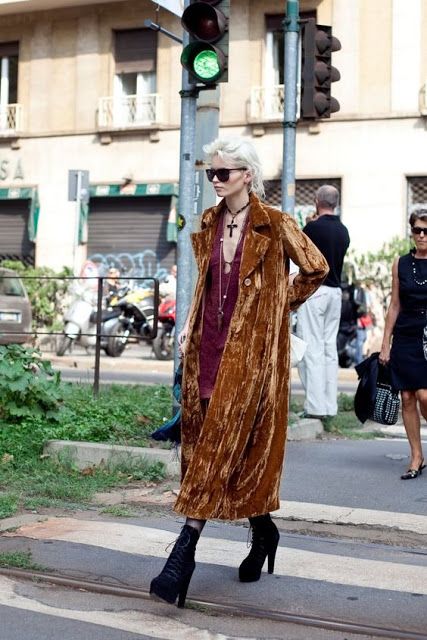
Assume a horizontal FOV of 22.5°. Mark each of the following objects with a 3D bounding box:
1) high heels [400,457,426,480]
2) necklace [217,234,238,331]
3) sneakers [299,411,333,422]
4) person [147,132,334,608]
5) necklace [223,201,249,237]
[{"bbox_3d":[1.287,0.976,6.898,0.071,0.102,0.235,-7,-2,39],"label":"high heels"},{"bbox_3d":[0.056,-0.130,4.550,0.082,0.284,0.016,2,-19,28],"label":"necklace"},{"bbox_3d":[0.848,0.812,8.992,0.298,0.131,0.103,1,5,18],"label":"sneakers"},{"bbox_3d":[0.039,0.191,4.450,0.524,1.901,0.777,6,6,34],"label":"person"},{"bbox_3d":[0.091,-0.430,4.604,0.088,0.149,0.025,1,-14,31],"label":"necklace"}]
